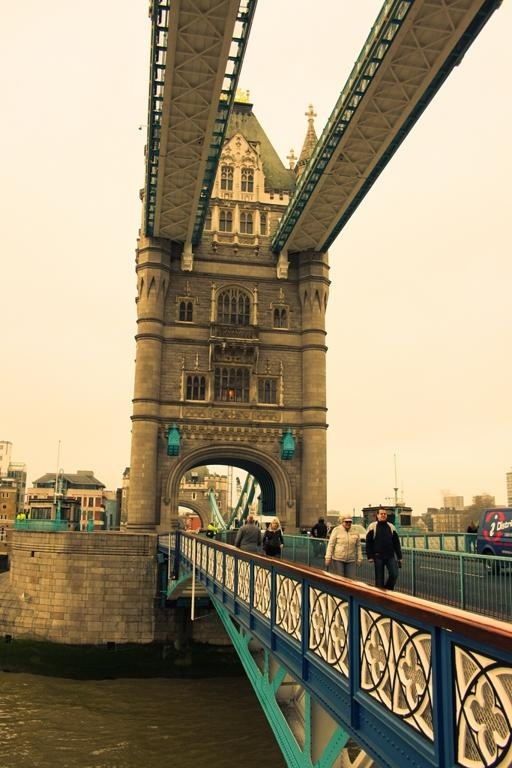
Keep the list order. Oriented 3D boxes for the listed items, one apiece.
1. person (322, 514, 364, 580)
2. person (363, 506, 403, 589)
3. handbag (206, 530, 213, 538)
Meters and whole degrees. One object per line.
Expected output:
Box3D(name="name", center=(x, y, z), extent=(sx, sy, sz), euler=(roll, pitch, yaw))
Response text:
Box3D(name="person", center=(1.304, 2.458, 9.308), extent=(0.502, 0.983, 1.222), euler=(-1, -8, 8))
Box3D(name="person", center=(1.842, 2.397, 9.051), extent=(0.480, 1.142, 0.761), euler=(-1, -8, 11))
Box3D(name="handbag", center=(-1.584, 5.281, 21.831), extent=(0.241, 0.264, 0.515), euler=(1, -8, -6))
